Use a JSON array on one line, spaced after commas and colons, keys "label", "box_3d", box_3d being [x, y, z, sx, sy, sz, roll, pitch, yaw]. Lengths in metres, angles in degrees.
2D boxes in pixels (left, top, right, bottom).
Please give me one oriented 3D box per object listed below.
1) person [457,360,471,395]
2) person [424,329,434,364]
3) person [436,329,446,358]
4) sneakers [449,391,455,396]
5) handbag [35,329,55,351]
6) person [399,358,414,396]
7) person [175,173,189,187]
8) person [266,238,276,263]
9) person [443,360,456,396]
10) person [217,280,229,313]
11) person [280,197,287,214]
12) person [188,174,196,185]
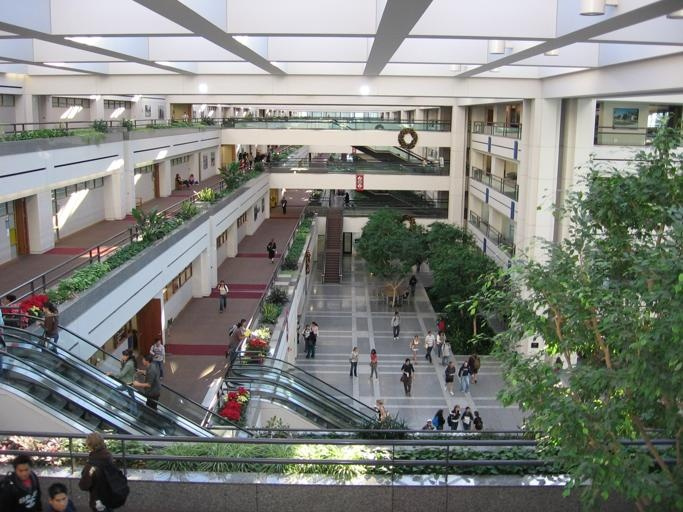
[{"label": "person", "box_3d": [5.471, 5.399, 22.755, 0.497, 1.440, 1.090, 5, 13, 16]}, {"label": "person", "box_3d": [4.426, 4.536, 25.716, 0.363, 1.659, 1.072, 4, 13, 11]}, {"label": "person", "box_3d": [5.092, 4.545, 26.275, 0.657, 1.907, 0.704, 1, 24, 12]}, {"label": "sneakers", "box_3d": [4.865, 6.067, 22.560, 0.103, 0.112, 0.261, -2, -1, -1]}, {"label": "handbag", "box_3d": [-5.900, 1.683, 10.168, 0.287, 0.278, 0.103, 24, 68, 46]}, {"label": "person", "box_3d": [2.863, 5.150, 22.328, 0.464, 1.742, 1.394, 3, 13, 8]}, {"label": "person", "box_3d": [-11.485, -5.516, 36.921, 0.911, 0.980, 1.312, -1, 13, -11]}, {"label": "person", "box_3d": [-4.357, -0.476, 31.900, 0.490, 1.482, 2.243, 0, 13, -9]}, {"label": "person", "box_3d": [4.857, 5.252, 22.774, 0.406, 1.507, 1.537, 5, 13, 14]}, {"label": "person", "box_3d": [-5.706, 1.663, 24.556, 0.389, 1.447, 2.324, -1, 13, -12]}, {"label": "person", "box_3d": [-5.323, -4.704, 47.274, 0.504, 1.401, 2.015, 0, 13, -7]}, {"label": "person", "box_3d": [-11.221, -5.758, 38.173, 0.531, 0.706, 2.124, -2, 14, -15]}]
